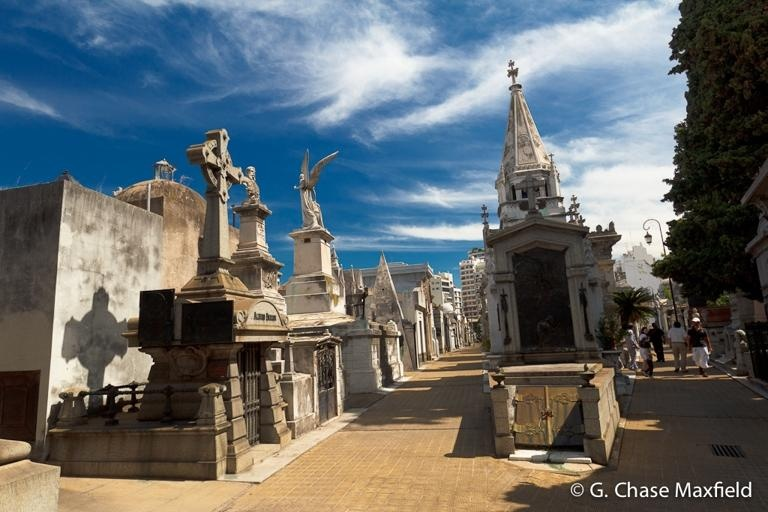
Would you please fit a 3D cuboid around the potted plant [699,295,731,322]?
[{"bbox_3d":[17.062,2.676,28.045,1.993,1.167,1.206,-2,-11,10],"label":"potted plant"}]

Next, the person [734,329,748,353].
[{"bbox_3d":[12.718,2.968,19.254,0.627,1.016,0.714,0,-6,30],"label":"person"}]
